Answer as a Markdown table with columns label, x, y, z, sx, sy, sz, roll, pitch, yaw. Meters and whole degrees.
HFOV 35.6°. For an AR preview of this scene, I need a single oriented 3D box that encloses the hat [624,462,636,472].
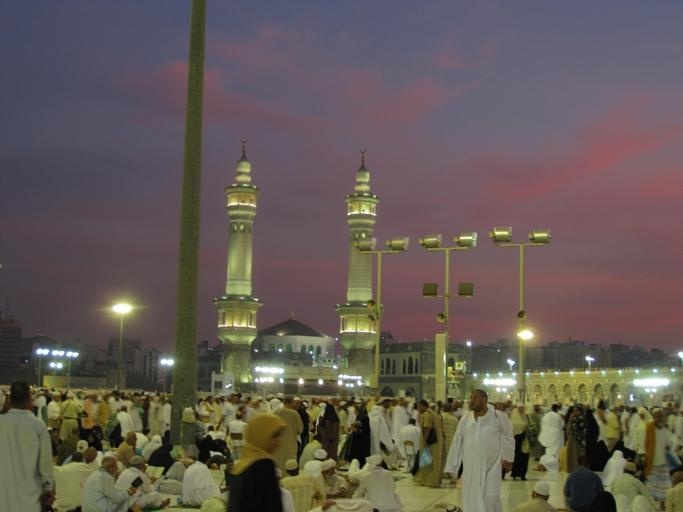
| label | x | y | z | sx | sy | sz | roll | pitch | yaw |
| --- | --- | --- | --- | --- | --- | --- | --- | --- | --- |
| hat | 5.880 | 4.277 | 21.630 | 0.183 | 0.207 | 0.231 | 0 | -16 | 4 |
